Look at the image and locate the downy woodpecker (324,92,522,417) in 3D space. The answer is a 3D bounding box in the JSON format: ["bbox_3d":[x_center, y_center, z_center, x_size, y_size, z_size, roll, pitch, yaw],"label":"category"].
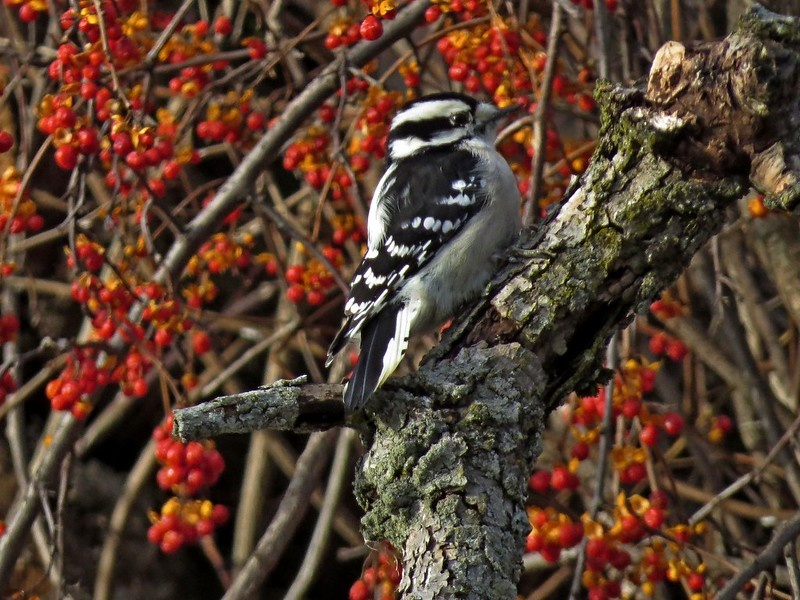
[{"bbox_3d":[0.178,-0.143,7.891,0.956,2.176,0.649,2,-38,-2],"label":"downy woodpecker"}]
